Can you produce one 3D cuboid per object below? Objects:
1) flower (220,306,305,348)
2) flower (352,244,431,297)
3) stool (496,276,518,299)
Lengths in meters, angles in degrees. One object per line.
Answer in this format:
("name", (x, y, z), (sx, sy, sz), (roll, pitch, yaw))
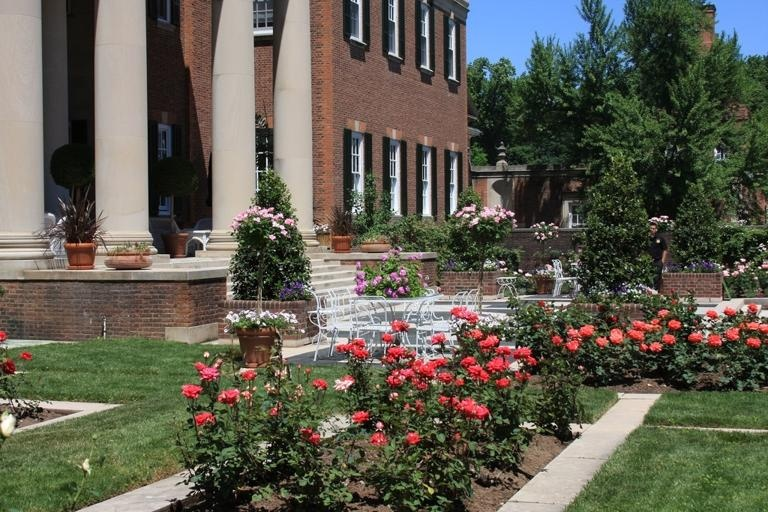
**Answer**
("flower", (-2.360, 1.299, 15.451), (1.525, 0.492, 1.503), (-1, 1, -40))
("flower", (0.142, 0.332, 16.077), (1.078, 0.837, 1.127), (1, 3, 12))
("stool", (4.240, 1.078, 27.522), (0.771, 0.846, 0.786), (-2, 0, 42))
